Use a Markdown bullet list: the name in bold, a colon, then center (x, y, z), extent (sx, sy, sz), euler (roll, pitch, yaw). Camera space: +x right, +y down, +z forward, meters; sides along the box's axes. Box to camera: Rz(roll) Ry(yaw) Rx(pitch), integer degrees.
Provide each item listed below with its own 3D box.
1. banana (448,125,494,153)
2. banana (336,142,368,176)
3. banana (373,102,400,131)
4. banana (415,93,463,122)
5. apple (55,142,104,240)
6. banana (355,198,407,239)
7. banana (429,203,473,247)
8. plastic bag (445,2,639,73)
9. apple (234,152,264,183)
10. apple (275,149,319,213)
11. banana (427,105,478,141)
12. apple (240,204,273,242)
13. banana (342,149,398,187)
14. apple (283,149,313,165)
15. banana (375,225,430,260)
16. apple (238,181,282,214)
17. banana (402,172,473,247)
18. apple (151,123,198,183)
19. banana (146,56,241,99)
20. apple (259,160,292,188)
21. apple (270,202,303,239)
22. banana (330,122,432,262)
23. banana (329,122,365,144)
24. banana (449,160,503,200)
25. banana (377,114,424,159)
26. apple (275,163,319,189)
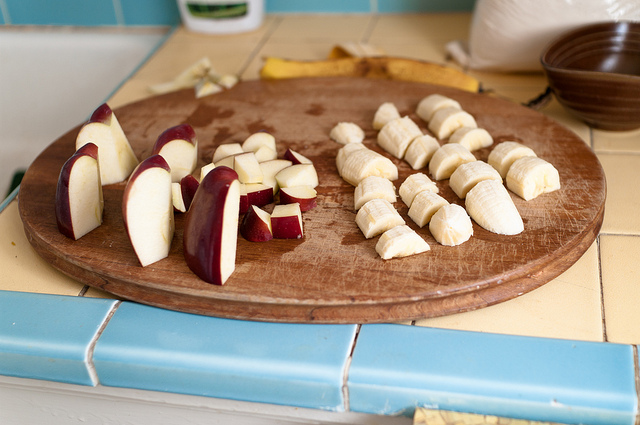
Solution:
- **banana**: center (0.312, -0.154, 1.098), extent (0.060, 0.035, 0.060), euler (-13, 36, -14)
- **banana**: center (0.070, -0.106, 1.117), extent (0.054, 0.062, 0.060), euler (-9, 48, 16)
- **banana**: center (0.140, -0.212, 1.196), extent (0.015, 0.052, 0.054), euler (19, 34, -32)
- **banana**: center (0.257, -0.237, 1.172), extent (0.071, 0.045, 0.072), euler (-28, 47, -15)
- **apple**: center (-0.424, -0.032, 0.950), extent (0.061, 0.129, 0.127), euler (16, 34, 2)
- **banana**: center (0.103, 0.005, 0.955), extent (0.078, 0.042, 0.055), euler (-22, 49, -14)
- **banana**: center (0.227, 0.017, 0.916), extent (0.065, 0.068, 0.029), euler (-4, 7, 1)
- **plastic bag**: center (0.521, -0.393, 1.307), extent (0.246, 0.216, 0.127), euler (1, 90, -13)
- **apple**: center (-0.138, -0.091, 1.012), extent (0.052, 0.018, 0.052), euler (-1, 57, -25)
- **apple**: center (-0.053, -0.059, 1.044), extent (0.101, 0.038, 0.101), euler (-21, 54, -30)
- **banana**: center (0.285, -0.192, 1.160), extent (0.076, 0.046, 0.076), euler (-36, 35, -2)
- **apple**: center (-0.116, 0.020, 0.947), extent (0.058, 0.039, 0.060), euler (-7, 56, -5)
- **banana**: center (0.090, -0.095, 1.082), extent (0.099, 0.063, 0.111), euler (-6, 20, -34)
- **apple**: center (-0.045, -0.107, 1.079), extent (0.040, 0.039, 0.016), euler (36, 101, 13)
- **banana**: center (0.157, 0.043, 0.915), extent (0.083, 0.039, 0.049), euler (15, 27, 35)
- **apple**: center (-0.114, -0.030, 1.011), extent (0.092, 0.057, 0.044), euler (-14, 7, -30)
- **banana**: center (0.210, -0.007, 0.976), extent (0.076, 0.053, 0.148), euler (-27, 44, -3)
- **apple**: center (-0.292, -0.106, 1.103), extent (0.090, 0.108, 0.095), euler (2, 91, 30)
- **banana**: center (-0.299, -0.379, 1.439), extent (0.154, 0.093, 0.068), euler (4, 56, -40)
- **apple**: center (-0.084, -0.078, 1.050), extent (0.048, 0.017, 0.069), euler (40, 48, 21)
- **apple**: center (-0.061, 0.010, 0.949), extent (0.056, 0.036, 0.065), euler (-3, 56, -3)
- **banana**: center (0.098, -0.055, 1.032), extent (0.093, 0.051, 0.324), euler (-5, 38, -9)
- **banana**: center (0.065, -0.169, 1.148), extent (0.054, 0.015, 0.059), euler (-9, 45, -11)
- **banana**: center (0.279, -0.070, 0.997), extent (0.116, 0.063, 0.063), euler (-8, 39, 1)
- **banana**: center (0.165, -0.166, 1.120), extent (0.094, 0.029, 0.072), euler (-41, 52, -6)
- **apple**: center (-0.044, -0.070, 1.031), extent (0.063, 0.027, 0.045), euler (-10, 36, -4)
